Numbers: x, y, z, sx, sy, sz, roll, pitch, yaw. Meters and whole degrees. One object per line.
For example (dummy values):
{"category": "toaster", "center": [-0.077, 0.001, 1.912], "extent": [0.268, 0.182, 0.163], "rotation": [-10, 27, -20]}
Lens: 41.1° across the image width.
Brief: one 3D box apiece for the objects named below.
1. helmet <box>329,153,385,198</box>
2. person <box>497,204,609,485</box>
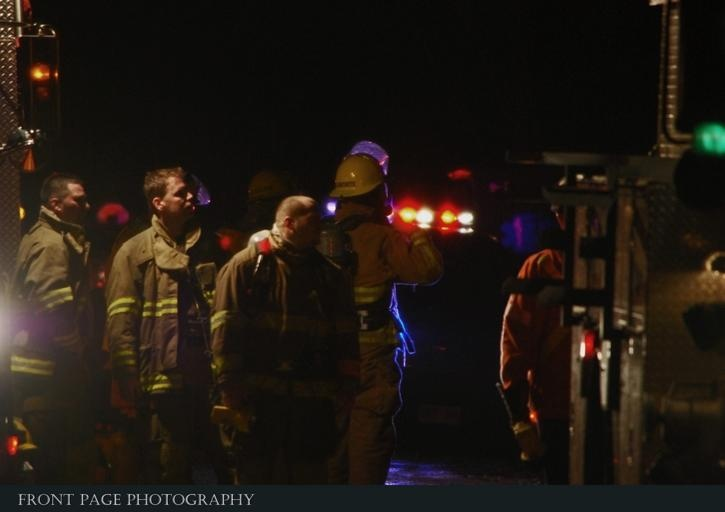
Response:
{"category": "helmet", "center": [-0.065, -0.615, 7.120], "extent": [0.406, 0.253, 0.499], "rotation": [10, 22, 39]}
{"category": "person", "center": [1.236, 0.672, 6.978], "extent": [0.531, 1.951, 0.681], "rotation": [-1, -11, 7]}
